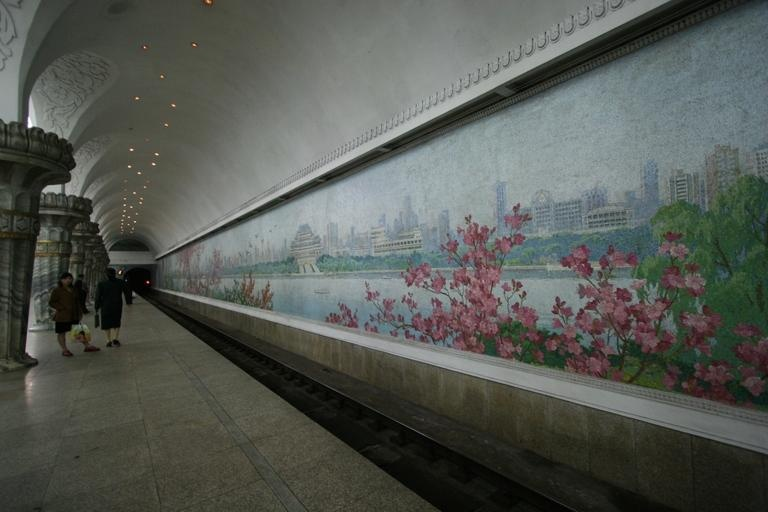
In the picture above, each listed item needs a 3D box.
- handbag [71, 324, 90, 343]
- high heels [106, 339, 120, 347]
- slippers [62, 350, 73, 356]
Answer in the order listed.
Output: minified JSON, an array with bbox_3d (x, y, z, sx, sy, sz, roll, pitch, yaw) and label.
[{"bbox_3d":[-6.268,1.587,8.981,0.161,0.450,0.406,-17,-13,35],"label":"handbag"},{"bbox_3d":[-6.192,1.969,9.969,0.159,0.189,0.401,4,-11,-38],"label":"high heels"},{"bbox_3d":[-6.348,1.939,8.781,0.247,0.105,0.100,1,-2,18],"label":"slippers"}]
